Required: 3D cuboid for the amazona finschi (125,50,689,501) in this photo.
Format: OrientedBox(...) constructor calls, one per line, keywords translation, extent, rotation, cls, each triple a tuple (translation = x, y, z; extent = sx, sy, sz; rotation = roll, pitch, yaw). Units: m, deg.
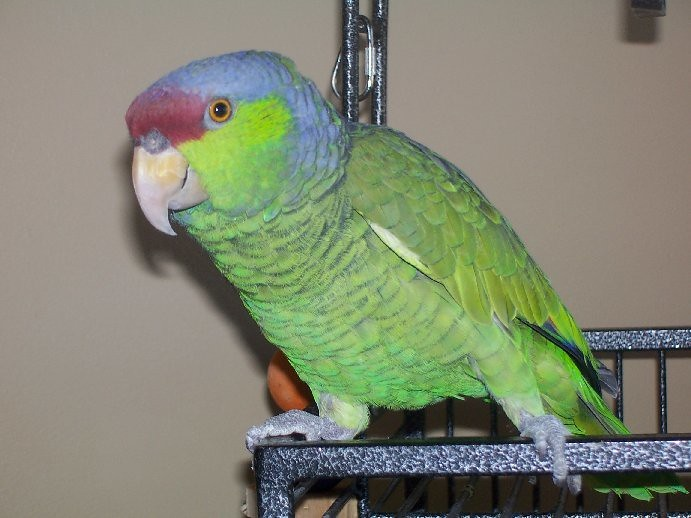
OrientedBox(translation=(-0.090, 0.077, 2.543), extent=(1.467, 1.089, 0.686), rotation=(-2, -13, -34), cls="amazona finschi")
